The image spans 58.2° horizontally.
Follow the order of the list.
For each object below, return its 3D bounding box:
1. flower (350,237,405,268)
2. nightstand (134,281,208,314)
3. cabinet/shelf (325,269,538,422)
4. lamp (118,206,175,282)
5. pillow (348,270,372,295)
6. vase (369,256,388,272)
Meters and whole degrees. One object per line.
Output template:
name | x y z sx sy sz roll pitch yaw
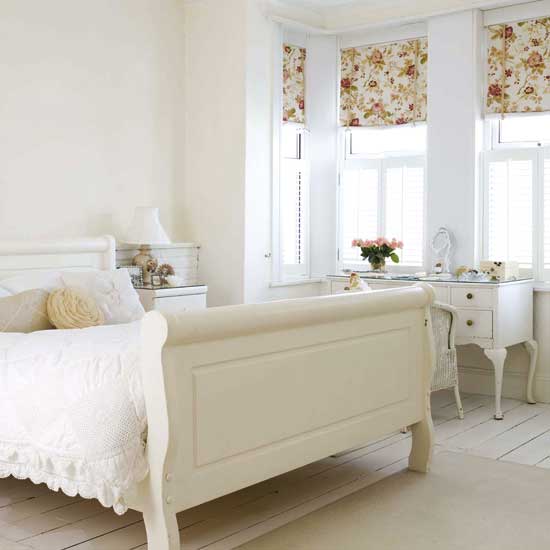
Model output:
flower | 0.837 -0.190 4.026 0.321 0.221 0.321 1 -1 -6
nightstand | -0.799 0.174 3.814 0.317 0.438 0.465 0 1 38
cabinet/shelf | 1.264 0.513 4.129 0.628 0.945 1.529 -1 1 -41
lamp | -1.067 -0.276 4.048 0.519 0.753 0.507 -2 8 -19
pillow | 0.578 0.052 3.398 0.149 0.136 0.219 -1 -3 19
vase | 0.858 -0.084 4.127 0.138 0.142 0.134 -3 6 -25
